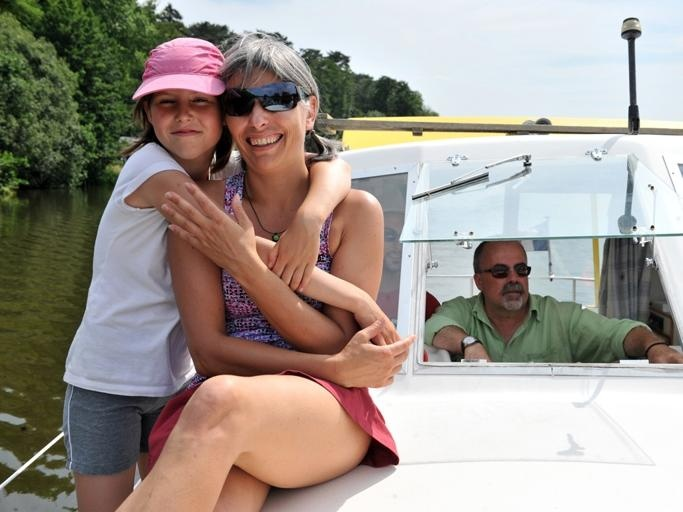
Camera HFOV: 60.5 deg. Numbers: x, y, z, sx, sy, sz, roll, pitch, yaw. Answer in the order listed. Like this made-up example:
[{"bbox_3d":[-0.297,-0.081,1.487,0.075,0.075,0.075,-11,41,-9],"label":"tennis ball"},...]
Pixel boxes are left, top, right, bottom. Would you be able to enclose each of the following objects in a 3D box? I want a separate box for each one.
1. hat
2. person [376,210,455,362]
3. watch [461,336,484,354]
[{"bbox_3d":[-0.812,-0.958,3.012,0.465,0.316,0.610,-3,13,-8],"label":"hat"},{"bbox_3d":[0.298,0.130,3.430,0.201,0.712,0.750,0,15,-31],"label":"person"},{"bbox_3d":[0.758,0.491,3.343,0.107,0.073,0.115,-41,-33,27],"label":"watch"}]
